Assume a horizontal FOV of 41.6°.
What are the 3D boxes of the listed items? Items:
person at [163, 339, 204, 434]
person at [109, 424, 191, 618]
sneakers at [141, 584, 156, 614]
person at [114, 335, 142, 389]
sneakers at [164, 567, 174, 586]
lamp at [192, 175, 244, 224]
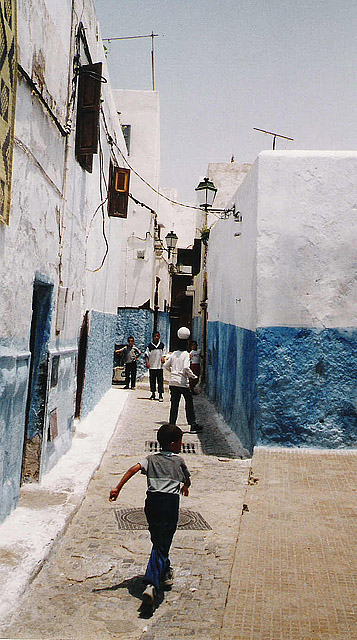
[{"bbox_3d":[0.070,1.053,8.017,0.569,1.709,1.815,-2,-4,1],"label":"person"},{"bbox_3d":[-0.127,1.084,2.639,0.262,0.933,0.527,-5,-5,39],"label":"person"},{"bbox_3d":[-0.153,1.440,2.420,0.046,0.203,0.080,1,5,8],"label":"sneakers"},{"bbox_3d":[-1.377,1.233,12.873,0.603,1.399,1.872,-1,-4,-8],"label":"person"},{"bbox_3d":[-0.055,1.486,2.705,0.036,0.065,0.122,2,0,1],"label":"sneakers"},{"bbox_3d":[0.694,-2.152,8.640,0.895,0.716,0.579,10,-2,-21],"label":"lamp"}]
